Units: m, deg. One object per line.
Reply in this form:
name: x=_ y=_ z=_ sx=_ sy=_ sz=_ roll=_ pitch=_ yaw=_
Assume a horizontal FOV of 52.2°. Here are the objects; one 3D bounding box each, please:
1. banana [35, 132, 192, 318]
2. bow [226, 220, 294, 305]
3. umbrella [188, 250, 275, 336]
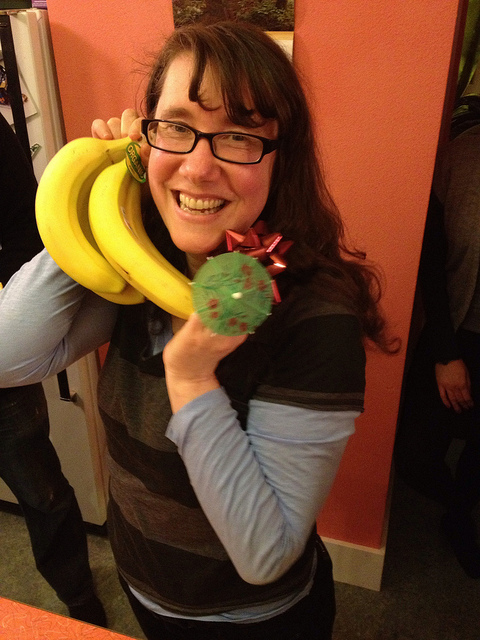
banana: x=-0.180 y=-0.176 z=0.676 sx=0.235 sy=0.105 sz=0.309 roll=-7 pitch=65 yaw=-22
bow: x=0.030 y=-0.098 z=0.613 sx=0.098 sy=0.100 sz=0.033 roll=6 pitch=65 yaw=-4
umbrella: x=-0.007 y=-0.028 z=0.521 sx=0.084 sy=0.083 sz=0.035 roll=0 pitch=35 yaw=-1
